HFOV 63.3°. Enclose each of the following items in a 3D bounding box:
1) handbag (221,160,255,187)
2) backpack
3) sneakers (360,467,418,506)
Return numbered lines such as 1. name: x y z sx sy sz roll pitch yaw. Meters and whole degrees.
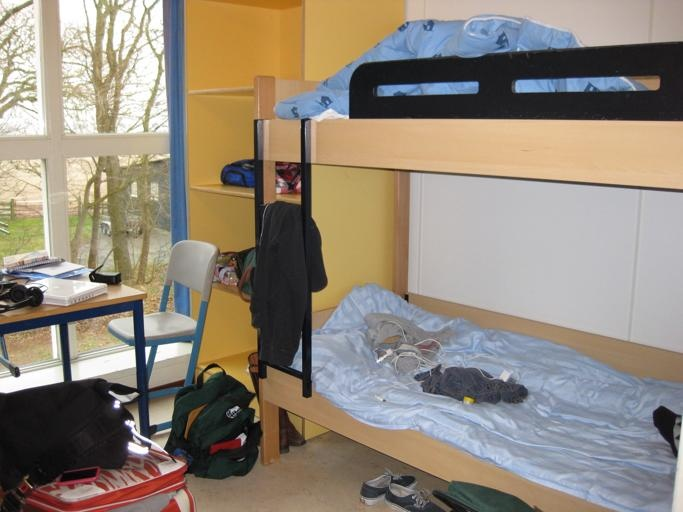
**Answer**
1. handbag: -0.714 -0.567 3.841 0.331 0.199 0.122 2 2 30
2. backpack: -0.700 0.956 3.093 0.481 0.508 0.330 2 12 6
3. sneakers: 0.237 1.169 2.881 0.270 0.111 0.121 -12 11 -36
